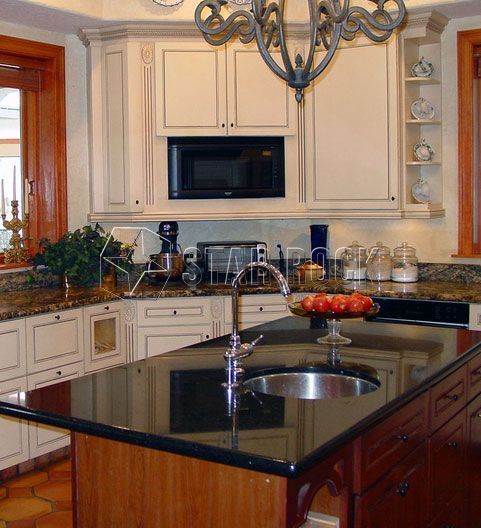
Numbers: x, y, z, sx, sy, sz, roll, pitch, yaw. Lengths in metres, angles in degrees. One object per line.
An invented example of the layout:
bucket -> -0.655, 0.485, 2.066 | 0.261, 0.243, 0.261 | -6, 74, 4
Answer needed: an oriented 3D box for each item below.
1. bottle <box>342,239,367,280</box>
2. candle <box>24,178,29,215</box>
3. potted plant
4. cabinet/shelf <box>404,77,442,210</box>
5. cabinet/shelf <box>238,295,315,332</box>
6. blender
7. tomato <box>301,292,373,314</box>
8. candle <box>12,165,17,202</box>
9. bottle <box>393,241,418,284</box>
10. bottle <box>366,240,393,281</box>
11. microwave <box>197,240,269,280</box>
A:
bottle -> 0.855, -0.018, 4.104 | 0.181, 0.279, 0.164 | 0, 5, 0
candle -> -1.575, -0.503, 4.049 | 0.046, 0.255, 0.013 | -2, 5, -18
potted plant -> -1.085, -0.030, 4.006 | 0.616, 0.324, 0.504 | 0, 5, 5
cabinet/shelf -> 1.266, -0.837, 3.964 | 0.384, 0.952, 0.331 | 1, 13, 13
cabinet/shelf -> 0.171, 0.318, 3.785 | 0.453, 0.259, 0.234 | -6, 0, -6
blender -> -0.541, -0.091, 4.121 | 0.343, 0.456, 0.433 | -1, 5, -9
tomato -> 0.361, 0.151, 2.053 | 0.279, 0.067, 0.133 | 0, 5, 7
candle -> -1.648, -0.597, 3.999 | 0.040, 0.249, 0.023 | -3, 6, -31
bottle -> 1.185, -0.007, 3.964 | 0.160, 0.285, 0.137 | -2, 5, -20
bottle -> 1.025, -0.013, 4.045 | 0.175, 0.282, 0.162 | 0, 5, 0
microwave -> -0.064, -0.035, 4.058 | 0.497, 0.271, 0.297 | 0, -1, -9
